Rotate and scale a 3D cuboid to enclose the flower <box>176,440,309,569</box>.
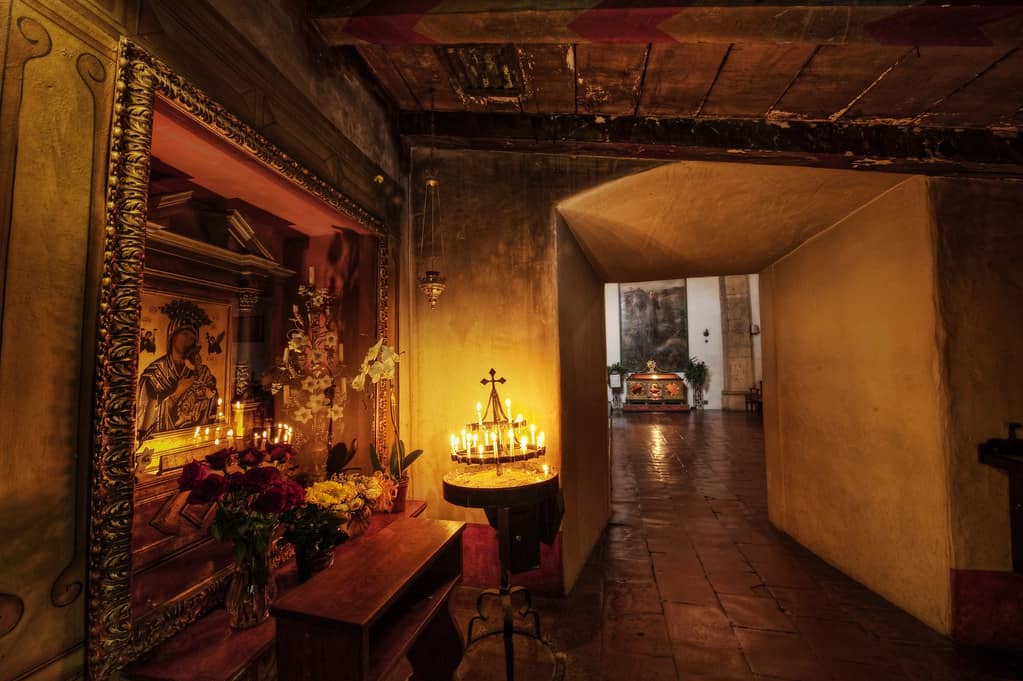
[{"bbox_3d":[-1.728,0.913,4.358,0.771,0.712,0.752,-2,7,-36],"label":"flower"}]

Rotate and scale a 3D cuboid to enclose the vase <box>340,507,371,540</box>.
[{"bbox_3d":[-1.108,1.288,4.856,0.187,0.105,0.244,-1,-2,19],"label":"vase"}]

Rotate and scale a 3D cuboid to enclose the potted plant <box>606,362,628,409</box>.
[{"bbox_3d":[3.292,1.309,21.262,0.579,1.196,1.750,1,11,10],"label":"potted plant"}]

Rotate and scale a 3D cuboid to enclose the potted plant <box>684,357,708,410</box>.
[{"bbox_3d":[5.461,1.237,20.200,0.582,1.340,0.754,11,17,44],"label":"potted plant"}]

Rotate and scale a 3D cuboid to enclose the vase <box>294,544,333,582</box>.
[{"bbox_3d":[-1.279,1.410,4.468,0.253,0.224,0.231,1,-1,-14],"label":"vase"}]

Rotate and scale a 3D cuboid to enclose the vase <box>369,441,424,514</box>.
[{"bbox_3d":[-0.930,1.091,5.557,0.450,0.546,0.567,3,-4,-31],"label":"vase"}]

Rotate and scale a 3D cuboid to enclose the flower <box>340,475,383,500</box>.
[{"bbox_3d":[-1.073,1.062,4.945,0.214,0.099,0.169,10,-14,32],"label":"flower"}]
